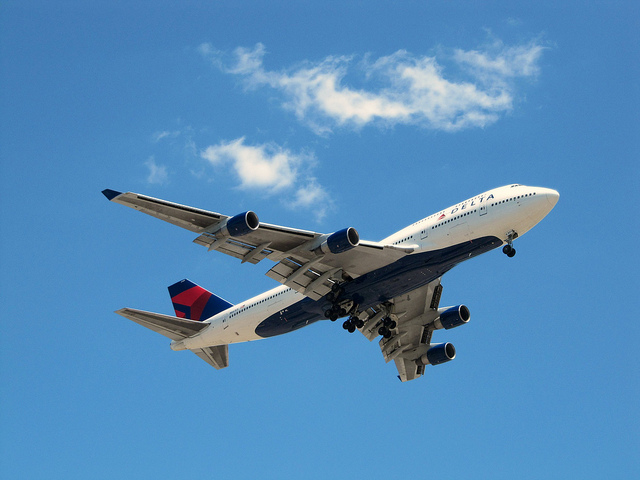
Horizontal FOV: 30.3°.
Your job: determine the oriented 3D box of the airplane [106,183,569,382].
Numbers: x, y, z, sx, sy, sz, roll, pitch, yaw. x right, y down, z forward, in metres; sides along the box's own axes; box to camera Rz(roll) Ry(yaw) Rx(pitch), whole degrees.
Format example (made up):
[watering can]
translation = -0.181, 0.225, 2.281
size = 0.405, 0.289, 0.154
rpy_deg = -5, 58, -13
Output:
[airplane]
translation = -0.029, 1.500, 53.470
size = 15.441, 4.871, 14.651
rpy_deg = 19, -42, -4
